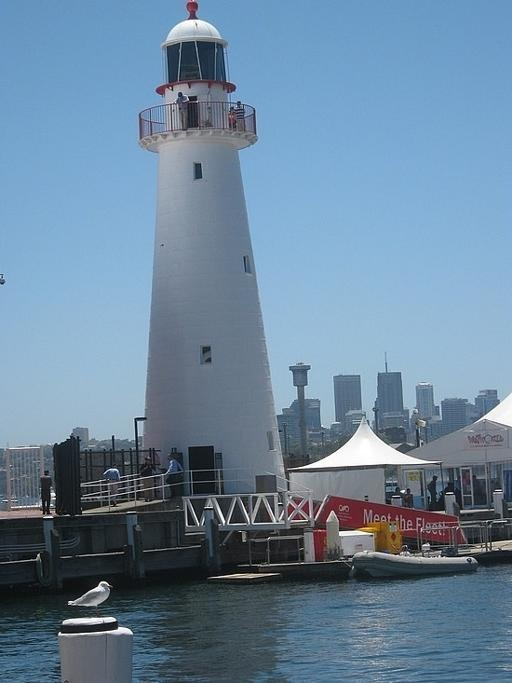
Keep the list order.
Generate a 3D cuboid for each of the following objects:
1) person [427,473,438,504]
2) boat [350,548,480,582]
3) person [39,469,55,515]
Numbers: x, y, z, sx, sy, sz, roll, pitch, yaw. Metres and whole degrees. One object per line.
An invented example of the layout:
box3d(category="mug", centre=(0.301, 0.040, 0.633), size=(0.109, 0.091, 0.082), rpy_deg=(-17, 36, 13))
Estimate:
box3d(category="person", centre=(7.173, 6.007, 47.702), size=(0.446, 1.122, 1.142), rpy_deg=(-11, -3, 6))
box3d(category="boat", centre=(4.725, 6.738, 35.843), size=(3.831, 0.901, 1.125), rpy_deg=(-7, -3, -25))
box3d(category="person", centre=(-6.115, 4.534, 34.664), size=(0.386, 1.093, 1.253), rpy_deg=(-10, -2, -11))
